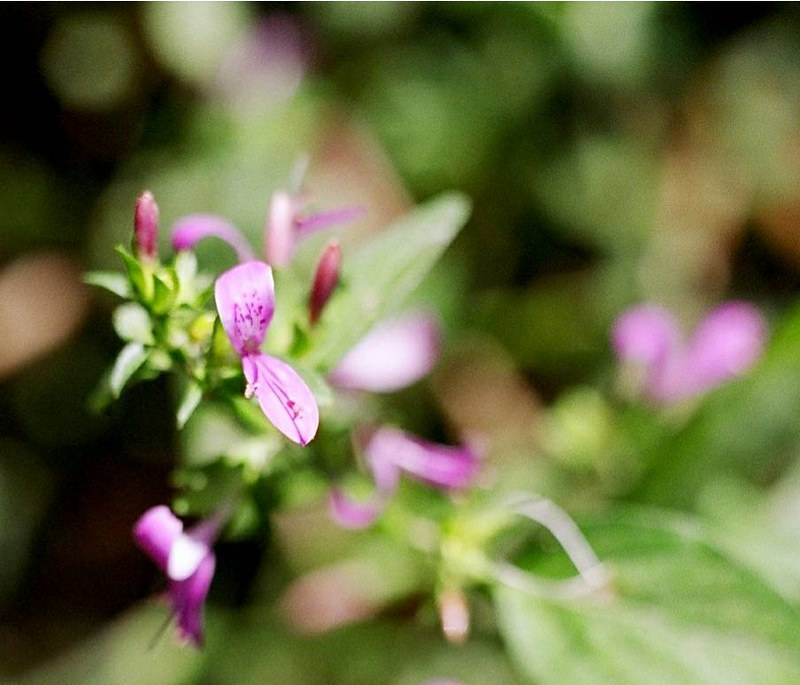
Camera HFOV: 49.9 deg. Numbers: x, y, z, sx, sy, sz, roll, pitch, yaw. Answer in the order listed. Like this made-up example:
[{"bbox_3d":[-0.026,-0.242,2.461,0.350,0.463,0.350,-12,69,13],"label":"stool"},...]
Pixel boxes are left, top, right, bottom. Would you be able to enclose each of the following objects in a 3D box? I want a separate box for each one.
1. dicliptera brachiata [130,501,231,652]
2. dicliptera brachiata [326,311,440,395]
[{"bbox_3d":[-0.301,0.343,1.226,0.111,0.222,0.162,-8,53,2],"label":"dicliptera brachiata"},{"bbox_3d":[-0.033,0.020,1.381,0.027,0.122,0.211,-2,14,40],"label":"dicliptera brachiata"}]
